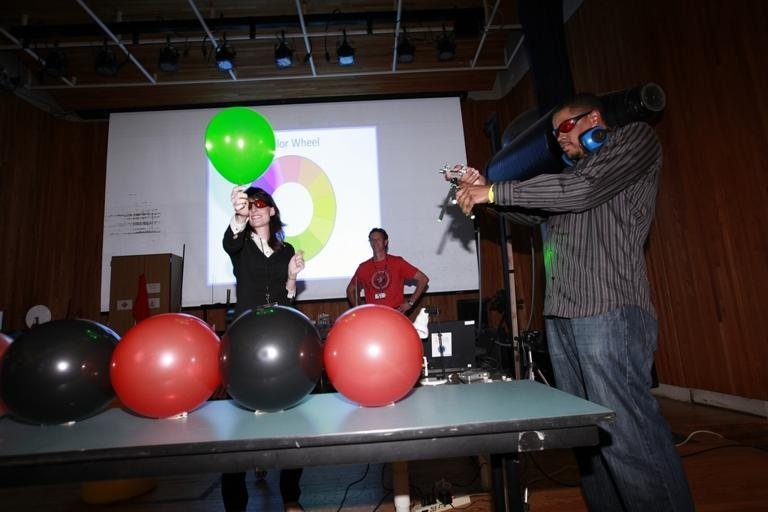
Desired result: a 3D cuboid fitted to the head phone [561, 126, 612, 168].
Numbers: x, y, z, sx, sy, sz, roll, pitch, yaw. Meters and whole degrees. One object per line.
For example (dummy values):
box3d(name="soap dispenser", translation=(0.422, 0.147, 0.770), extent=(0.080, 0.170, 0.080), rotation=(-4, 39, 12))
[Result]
box3d(name="head phone", translation=(1.374, -0.793, 3.618), extent=(0.361, 0.143, 0.306), rotation=(-23, 5, -29))

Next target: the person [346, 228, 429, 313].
box3d(name="person", translation=(0.014, 0.171, 6.274), extent=(0.685, 1.372, 0.368), rotation=(-10, -31, 14))

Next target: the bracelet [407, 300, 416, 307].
box3d(name="bracelet", translation=(0.308, 0.536, 6.022), extent=(0.103, 0.048, 0.110), rotation=(1, -10, 8))

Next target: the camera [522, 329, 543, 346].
box3d(name="camera", translation=(1.439, 0.795, 5.095), extent=(0.157, 0.131, 0.101), rotation=(1, -23, 1))

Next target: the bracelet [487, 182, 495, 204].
box3d(name="bracelet", translation=(0.706, -0.413, 3.453), extent=(0.040, 0.099, 0.079), rotation=(2, 0, 2))
